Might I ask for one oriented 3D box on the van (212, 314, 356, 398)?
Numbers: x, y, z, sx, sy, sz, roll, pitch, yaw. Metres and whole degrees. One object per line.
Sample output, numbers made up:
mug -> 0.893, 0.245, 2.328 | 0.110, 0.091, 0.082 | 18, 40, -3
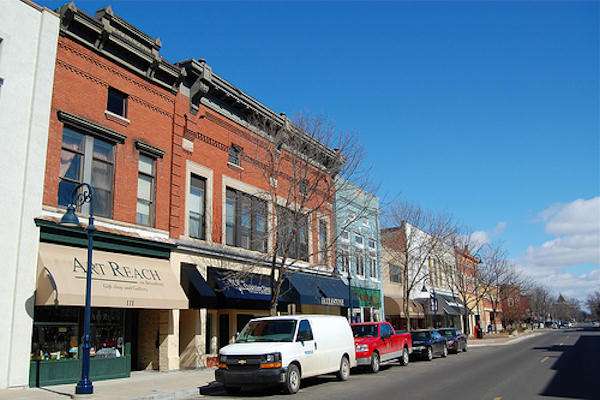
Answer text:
van -> -0.425, 6.241, 20.560 | 5.640, 3.071, 2.041 | 14, -27, -40

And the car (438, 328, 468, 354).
car -> 10.700, 9.733, 35.183 | 1.290, 0.967, 2.914 | -7, -24, 16
